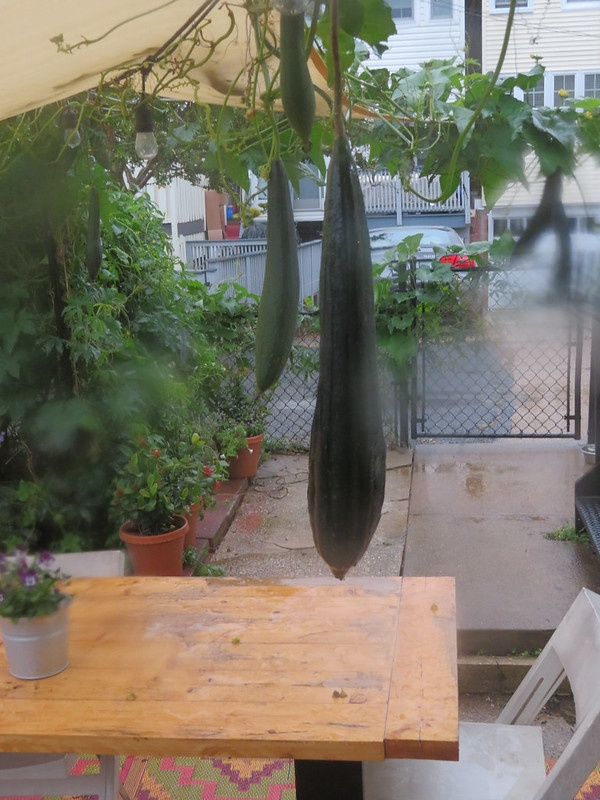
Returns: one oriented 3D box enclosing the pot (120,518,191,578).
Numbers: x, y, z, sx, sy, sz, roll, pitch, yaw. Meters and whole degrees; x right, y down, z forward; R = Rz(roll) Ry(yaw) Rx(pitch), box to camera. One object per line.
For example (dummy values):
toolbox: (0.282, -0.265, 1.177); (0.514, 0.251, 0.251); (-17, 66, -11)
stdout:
pot: (-0.664, 0.712, 3.636); (0.317, 0.214, 0.298); (-2, 16, 0)

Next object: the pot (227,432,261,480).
pot: (-0.416, 0.411, 5.515); (0.333, 0.231, 0.310); (-1, 8, 0)
